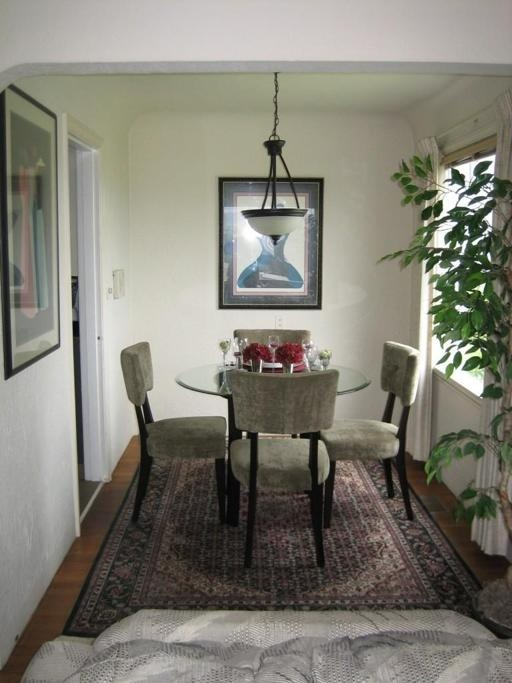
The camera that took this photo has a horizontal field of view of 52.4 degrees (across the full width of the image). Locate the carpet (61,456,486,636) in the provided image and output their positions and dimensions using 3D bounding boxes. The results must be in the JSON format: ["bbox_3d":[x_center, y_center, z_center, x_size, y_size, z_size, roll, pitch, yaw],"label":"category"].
[{"bbox_3d":[0.101,1.057,2.808,1.979,0.015,2.187,-1,-1,9],"label":"carpet"}]

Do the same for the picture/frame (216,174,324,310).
[{"bbox_3d":[0.092,-0.803,3.984,0.955,1.257,0.056,-1,9,-2],"label":"picture/frame"}]
